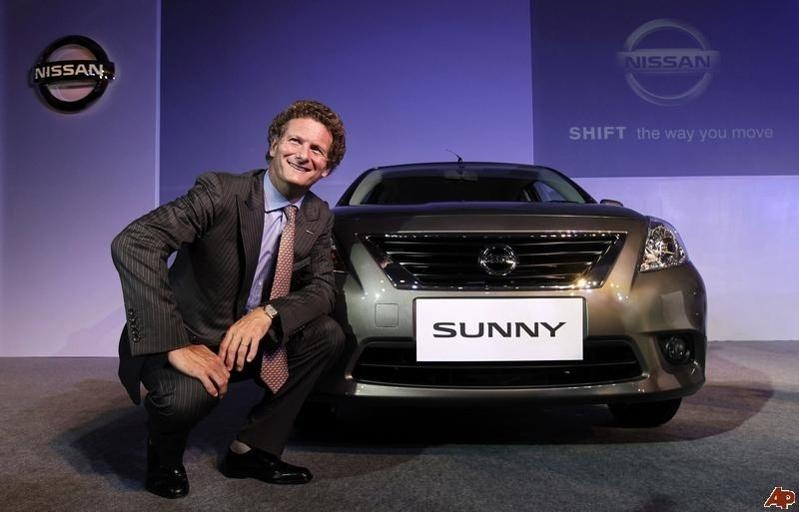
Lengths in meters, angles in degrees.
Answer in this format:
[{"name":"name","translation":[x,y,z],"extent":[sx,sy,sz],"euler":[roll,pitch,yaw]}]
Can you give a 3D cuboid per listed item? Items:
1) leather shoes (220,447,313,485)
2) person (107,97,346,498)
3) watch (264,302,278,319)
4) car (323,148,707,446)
[{"name":"leather shoes","translation":[-0.597,0.933,2.442],"extent":[0.442,0.185,0.148],"euler":[2,-4,7]},{"name":"person","translation":[-0.693,0.147,2.333],"extent":[0.970,1.674,0.407],"euler":[-3,5,-28]},{"name":"watch","translation":[-0.551,0.233,2.279],"extent":[0.044,0.019,0.062],"euler":[-8,45,-37]},{"name":"car","translation":[0.500,0.155,2.964],"extent":[1.265,0.953,2.149],"euler":[0,-6,-2]}]
